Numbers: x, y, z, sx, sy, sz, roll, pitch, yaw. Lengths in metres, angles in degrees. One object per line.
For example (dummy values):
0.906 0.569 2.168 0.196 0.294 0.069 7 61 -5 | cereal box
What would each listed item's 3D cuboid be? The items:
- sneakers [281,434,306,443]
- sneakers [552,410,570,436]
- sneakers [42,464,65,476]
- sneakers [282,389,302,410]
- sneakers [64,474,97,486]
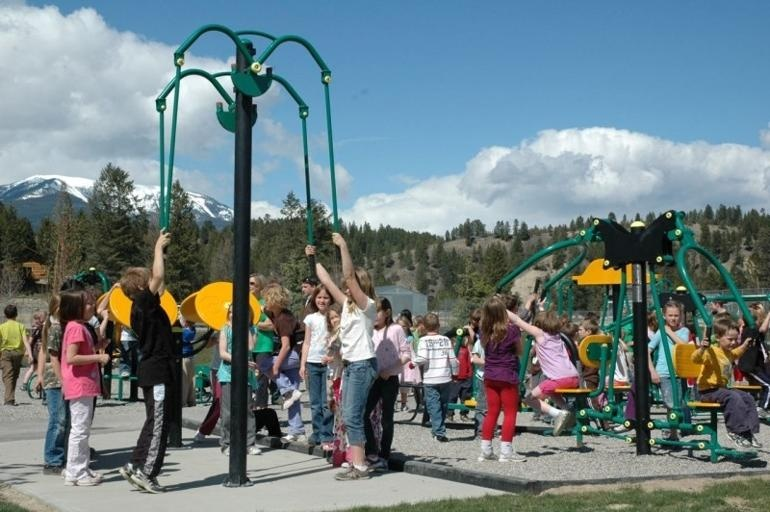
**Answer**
-1.527 3.020 15.696 0.364 0.174 0.153 6 -11 -1 | sneakers
2.792 2.718 15.249 0.203 0.481 0.182 23 21 23 | sneakers
-4.880 3.148 13.997 0.334 0.169 0.136 1 -3 -3 | sneakers
-1.563 2.420 15.609 0.198 0.167 0.454 24 -46 -14 | sneakers
-4.304 3.136 13.458 0.408 0.208 0.182 -1 -2 -7 | sneakers
